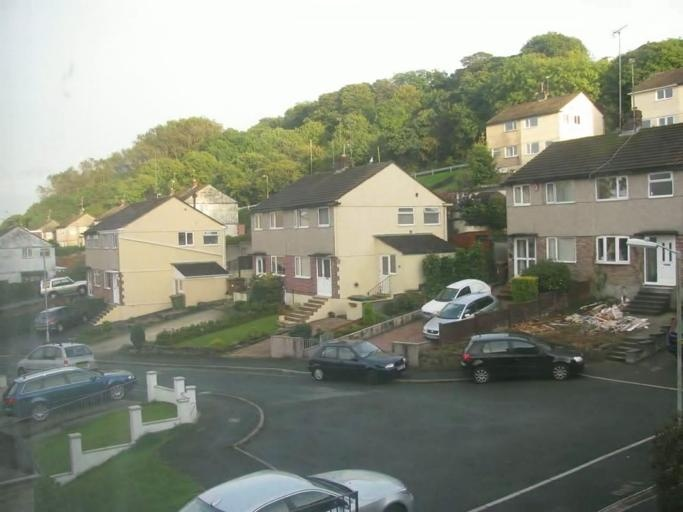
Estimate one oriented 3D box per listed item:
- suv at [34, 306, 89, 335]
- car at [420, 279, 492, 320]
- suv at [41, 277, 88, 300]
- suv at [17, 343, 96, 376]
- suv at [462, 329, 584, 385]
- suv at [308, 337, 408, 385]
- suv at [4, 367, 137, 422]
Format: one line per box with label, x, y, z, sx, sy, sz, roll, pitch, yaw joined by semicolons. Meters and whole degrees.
suv;-19.468;4.355;59.038;1.458;1.958;4.422;-6;12;15
car;6.975;2.586;51.223;4.773;1.800;2.016;-16;10;-34
suv;-23.212;2.794;70.976;3.628;1.488;1.689;-8;10;-25
suv;-15.350;5.748;45.424;3.218;1.916;4.517;-3;0;36
suv;8.507;5.002;40.628;5.577;2.297;2.591;0;0;7
suv;0.686;5.313;43.782;4.748;1.786;2.328;-2;9;25
suv;-13.090;6.508;40.252;2.401;2.087;6.131;0;0;38
